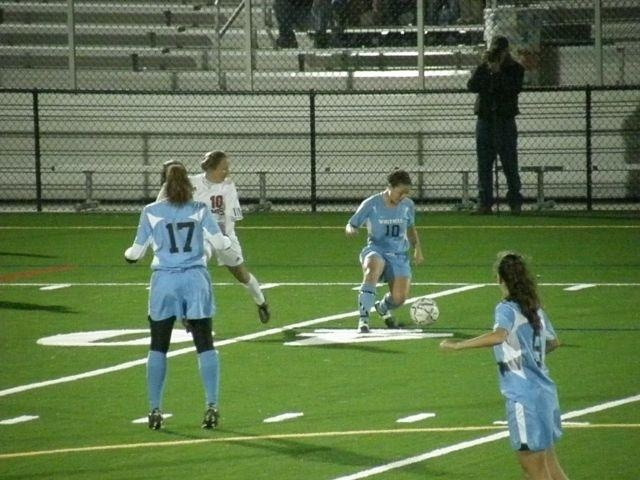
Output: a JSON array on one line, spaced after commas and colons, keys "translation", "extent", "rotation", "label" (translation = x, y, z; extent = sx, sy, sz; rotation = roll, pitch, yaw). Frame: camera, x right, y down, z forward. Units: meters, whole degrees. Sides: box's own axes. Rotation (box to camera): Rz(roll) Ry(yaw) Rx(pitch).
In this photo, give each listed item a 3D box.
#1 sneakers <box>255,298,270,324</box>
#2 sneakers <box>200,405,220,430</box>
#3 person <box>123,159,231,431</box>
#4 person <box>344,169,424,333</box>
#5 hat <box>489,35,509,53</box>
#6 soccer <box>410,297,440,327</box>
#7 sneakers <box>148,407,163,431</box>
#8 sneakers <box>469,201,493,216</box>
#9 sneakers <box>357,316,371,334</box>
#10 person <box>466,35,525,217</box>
[{"translation": [-0.740, 0.862, 13.401], "extent": [0.136, 0.273, 0.257], "rotation": [-7, 13, 1], "label": "sneakers"}, {"translation": [-1.039, 1.679, 10.672], "extent": [0.154, 0.199, 0.191], "rotation": [-2, 11, -5], "label": "sneakers"}, {"translation": [-1.304, 0.525, 10.728], "extent": [0.913, 2.444, 0.805], "rotation": [-3, 11, -10], "label": "person"}, {"translation": [0.765, 0.104, 13.665], "extent": [0.845, 1.948, 1.160], "rotation": [0, 11, 4], "label": "person"}, {"translation": [3.232, -3.650, 20.942], "extent": [0.236, 0.315, 0.309], "rotation": [2, 4, 35], "label": "hat"}, {"translation": [1.219, 0.889, 13.348], "extent": [0.303, 0.321, 0.318], "rotation": [-17, -19, 42], "label": "soccer"}, {"translation": [-1.528, 1.698, 10.615], "extent": [0.130, 0.186, 0.091], "rotation": [2, 15, 22], "label": "sneakers"}, {"translation": [3.198, -0.634, 23.121], "extent": [0.425, 0.287, 0.205], "rotation": [5, 12, 15], "label": "sneakers"}, {"translation": [0.479, 1.002, 13.297], "extent": [0.139, 0.207, 0.263], "rotation": [0, 11, 2], "label": "sneakers"}, {"translation": [3.308, -2.161, 21.806], "extent": [0.962, 3.526, 1.447], "rotation": [1, 11, 8], "label": "person"}]
